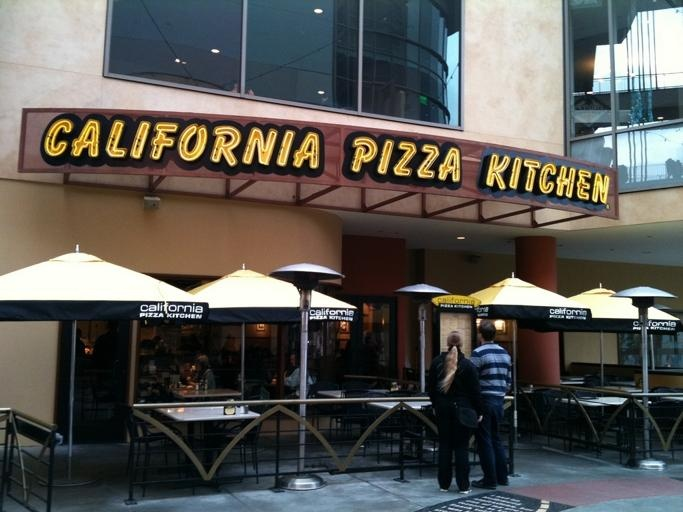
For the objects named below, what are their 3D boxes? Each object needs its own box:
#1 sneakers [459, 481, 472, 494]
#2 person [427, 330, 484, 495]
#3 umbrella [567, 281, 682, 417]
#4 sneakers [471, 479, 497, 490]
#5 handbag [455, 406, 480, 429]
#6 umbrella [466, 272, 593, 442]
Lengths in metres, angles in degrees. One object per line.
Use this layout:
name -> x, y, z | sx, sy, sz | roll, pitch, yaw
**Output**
sneakers -> 1.968, 3.674, 12.629 | 0.101, 0.205, 0.309 | -1, -2, 20
person -> 1.840, 2.491, 12.675 | 0.835, 2.547, 0.515 | -3, -6, 20
umbrella -> 6.790, 2.276, 19.409 | 2.565, 3.147, 2.694 | -1, -13, 12
sneakers -> 2.365, 3.733, 13.056 | 0.402, 0.166, 0.149 | 1, -7, 34
handbag -> 1.968, 2.525, 12.439 | 0.341, 0.295, 0.154 | 3, -7, -23
umbrella -> 3.325, 1.958, 16.013 | 3.016, 2.933, 2.608 | 1, -6, 0
